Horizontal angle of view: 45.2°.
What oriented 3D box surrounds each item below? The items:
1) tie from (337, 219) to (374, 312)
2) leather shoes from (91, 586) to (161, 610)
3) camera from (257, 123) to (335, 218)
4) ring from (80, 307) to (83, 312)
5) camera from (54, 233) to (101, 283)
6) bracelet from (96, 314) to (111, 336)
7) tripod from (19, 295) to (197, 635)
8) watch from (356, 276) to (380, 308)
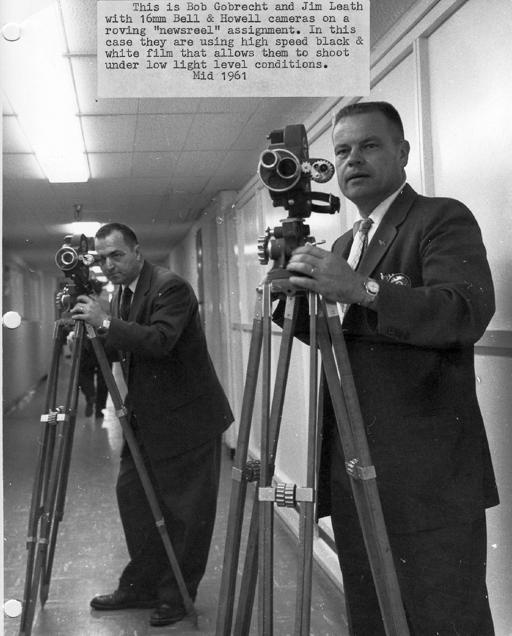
[{"bbox_3d":[0.219,-0.102,1.289,0.049,0.173,0.125,15,-13,-18],"label":"tie"},{"bbox_3d":[-0.310,0.680,1.525,0.172,0.086,0.060,5,-15,-7],"label":"leather shoes"},{"bbox_3d":[0.074,-0.272,1.136,0.153,0.174,0.153,2,15,37],"label":"camera"},{"bbox_3d":[-0.405,-0.022,1.435,0.007,0.010,0.004,2,1,1],"label":"ring"},{"bbox_3d":[-0.405,-0.139,1.421,0.105,0.109,0.048,-7,8,-25],"label":"camera"},{"bbox_3d":[-0.355,0.020,1.436,0.013,0.042,0.040,15,28,-8],"label":"bracelet"},{"bbox_3d":[-0.364,0.373,1.486,0.389,0.716,0.172,0,6,-22],"label":"tripod"},{"bbox_3d":[0.195,-0.052,1.063,0.028,0.048,0.045,6,-9,-11],"label":"watch"}]
